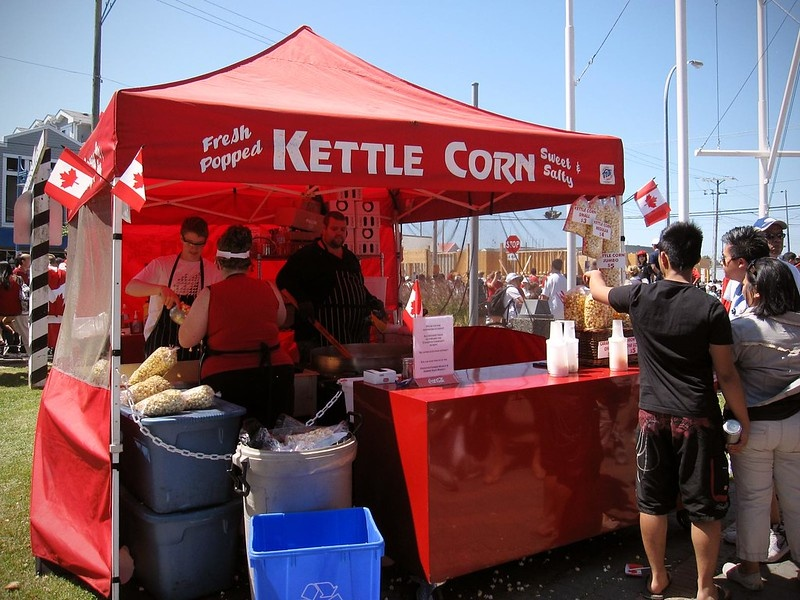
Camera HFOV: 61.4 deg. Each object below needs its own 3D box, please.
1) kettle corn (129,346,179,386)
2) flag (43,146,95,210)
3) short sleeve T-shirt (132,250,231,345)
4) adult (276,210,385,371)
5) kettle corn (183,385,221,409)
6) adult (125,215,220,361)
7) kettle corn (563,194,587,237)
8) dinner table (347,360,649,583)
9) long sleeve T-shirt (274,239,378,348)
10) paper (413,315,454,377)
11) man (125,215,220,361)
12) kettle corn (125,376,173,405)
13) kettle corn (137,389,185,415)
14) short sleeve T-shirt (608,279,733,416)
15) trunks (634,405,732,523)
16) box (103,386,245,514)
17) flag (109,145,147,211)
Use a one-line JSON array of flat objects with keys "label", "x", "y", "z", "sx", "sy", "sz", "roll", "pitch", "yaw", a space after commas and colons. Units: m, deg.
[{"label": "kettle corn", "x": -1.629, "y": 0.439, "z": 4.465, "sx": 0.394, "sy": 0.120, "sz": 0.131, "roll": -39, "pitch": -13, "yaw": -12}, {"label": "flag", "x": -2.037, "y": -0.729, "z": 4.156, "sx": 0.178, "sy": 0.399, "sz": 0.527, "roll": -11, "pitch": 17, "yaw": -43}, {"label": "short sleeve T-shirt", "x": -1.568, "y": -0.001, "z": 4.825, "sx": 0.770, "sy": 0.691, "sz": 0.302, "roll": 15, "pitch": 19, "yaw": -40}, {"label": "adult", "x": -0.666, "y": 0.153, "z": 6.379, "sx": 0.862, "sy": 1.902, "sz": 0.577, "roll": -3, "pitch": 5, "yaw": -30}, {"label": "kettle corn", "x": -1.203, "y": 0.566, "z": 4.032, "sx": 0.115, "sy": 0.072, "sz": 0.151, "roll": 0, "pitch": 5, "yaw": -6}, {"label": "adult", "x": -1.670, "y": 0.153, "z": 4.987, "sx": 0.574, "sy": 1.461, "sz": 0.493, "roll": 8, "pitch": -3, "yaw": -31}, {"label": "kettle corn", "x": 1.299, "y": -0.615, "z": 4.966, "sx": 0.159, "sy": 0.262, "sz": 0.060, "roll": 13, "pitch": 5, "yaw": -30}, {"label": "dinner table", "x": 0.428, "y": 0.995, "z": 4.359, "sx": 2.039, "sy": 1.150, "sz": 1.038, "roll": -3, "pitch": 3, "yaw": -37}, {"label": "long sleeve T-shirt", "x": -0.697, "y": -0.056, "z": 6.234, "sx": 0.584, "sy": 1.069, "sz": 1.034, "roll": -6, "pitch": -5, "yaw": 39}, {"label": "paper", "x": 0.189, "y": 0.275, "z": 4.113, "sx": 0.347, "sy": 0.487, "sz": 0.037, "roll": -3, "pitch": 4, "yaw": -37}, {"label": "man", "x": -1.655, "y": 0.160, "z": 4.964, "sx": 0.558, "sy": 1.521, "sz": 0.512, "roll": 8, "pitch": -7, "yaw": -28}, {"label": "kettle corn", "x": -1.512, "y": 0.522, "z": 4.032, "sx": 0.223, "sy": 0.095, "sz": 0.137, "roll": -25, "pitch": 44, "yaw": -23}, {"label": "kettle corn", "x": -1.394, "y": 0.594, "z": 3.906, "sx": 0.281, "sy": 0.121, "sz": 0.141, "roll": -6, "pitch": 14, "yaw": -22}, {"label": "short sleeve T-shirt", "x": 1.556, "y": 0.300, "z": 3.914, "sx": 0.308, "sy": 0.747, "sz": 0.774, "roll": -7, "pitch": 9, "yaw": -43}, {"label": "trunks", "x": 1.634, "y": 0.921, "z": 3.940, "sx": 0.471, "sy": 0.697, "sz": 0.362, "roll": 0, "pitch": 10, "yaw": 35}, {"label": "box", "x": -1.373, "y": 0.880, "z": 4.308, "sx": 0.658, "sy": 0.587, "sz": 0.900, "roll": -1, "pitch": 8, "yaw": -19}, {"label": "flag", "x": -1.477, "y": -0.659, "z": 3.686, "sx": 0.329, "sy": 0.329, "sz": 0.167, "roll": 11, "pitch": 16, "yaw": 42}]
